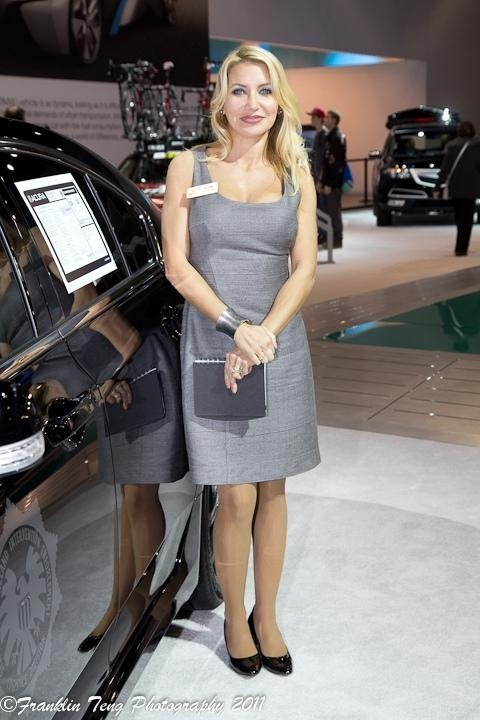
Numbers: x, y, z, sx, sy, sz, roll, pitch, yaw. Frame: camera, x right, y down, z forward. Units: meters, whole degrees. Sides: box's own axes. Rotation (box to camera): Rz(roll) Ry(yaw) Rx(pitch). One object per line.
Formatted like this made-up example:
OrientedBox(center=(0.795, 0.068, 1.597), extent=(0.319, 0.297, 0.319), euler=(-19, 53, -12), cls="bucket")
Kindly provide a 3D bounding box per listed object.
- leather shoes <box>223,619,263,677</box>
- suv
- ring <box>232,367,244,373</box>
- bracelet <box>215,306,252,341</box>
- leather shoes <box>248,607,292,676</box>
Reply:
OrientedBox(center=(0.010, 0.935, 1.684), extent=(0.099, 0.047, 0.318), euler=(-1, 0, -11), cls="leather shoes")
OrientedBox(center=(4.988, -5.262, 13.919), extent=(2.379, 2.450, 4.277), euler=(0, 9, 3), cls="suv")
OrientedBox(center=(-0.004, 0.026, 1.362), extent=(0.025, 0.019, 0.005), euler=(2, 9, 20), cls="ring")
OrientedBox(center=(-0.024, -0.100, 1.398), extent=(0.087, 0.083, 0.078), euler=(35, 69, 12), cls="bracelet")
OrientedBox(center=(0.099, 0.907, 1.672), extent=(0.089, 0.099, 0.263), euler=(6, 3, -23), cls="leather shoes")
